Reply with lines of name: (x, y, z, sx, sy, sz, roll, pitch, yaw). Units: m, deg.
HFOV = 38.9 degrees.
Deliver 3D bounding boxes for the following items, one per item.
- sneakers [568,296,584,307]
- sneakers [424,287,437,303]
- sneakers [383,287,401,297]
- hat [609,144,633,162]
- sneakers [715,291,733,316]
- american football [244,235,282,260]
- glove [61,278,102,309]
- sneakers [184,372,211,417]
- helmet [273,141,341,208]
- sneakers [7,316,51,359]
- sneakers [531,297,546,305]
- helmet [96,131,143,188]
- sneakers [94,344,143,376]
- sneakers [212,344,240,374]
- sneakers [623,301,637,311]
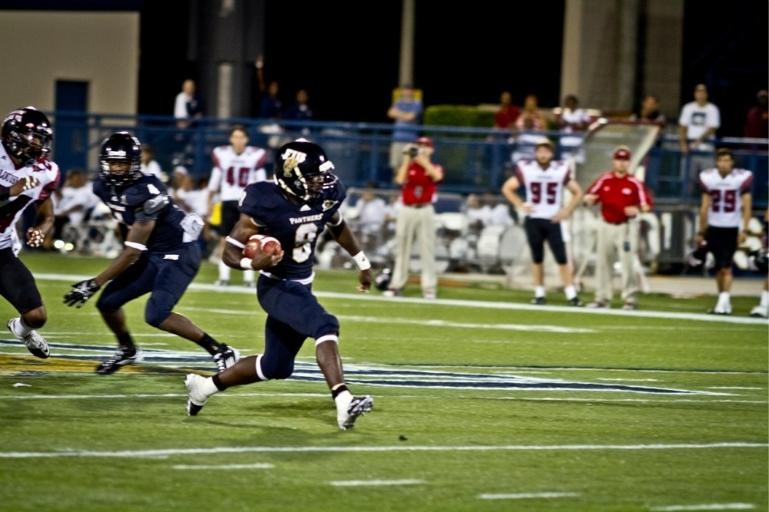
sneakers: (2.611, 0.598, 14.936, 0.183, 0.140, 0.287, 0, 2, 9)
sneakers: (0.645, 0.528, 15.409, 0.290, 0.139, 0.235, 1, 15, 12)
sneakers: (0.108, 0.507, 15.634, 0.216, 0.117, 0.169, -1, 2, 1)
hat: (3.154, -1.376, 14.497, 0.189, 0.185, 0.297, 0, 2, 18)
sneakers: (4.468, 0.604, 14.395, 0.227, 0.292, 0.204, 0, 2, 6)
american football: (-0.946, -0.069, 8.537, 0.235, 0.159, 0.222, 13, -27, -33)
glove: (-2.631, 0.363, 9.421, 0.366, 0.253, 0.124, -27, -26, 7)
sneakers: (-1.551, 1.117, 8.919, 0.148, 0.364, 0.293, 0, -3, 28)
helmet: (-0.564, -0.692, 8.790, 0.591, 0.417, 0.417, 23, 31, 20)
sneakers: (-3.379, 0.779, 10.337, 0.451, 0.159, 0.300, 38, -11, -14)
sneakers: (2.126, 0.604, 15.079, 0.157, 0.093, 0.088, 13, 12, 41)
helmet: (-2.381, -0.890, 9.799, 0.428, 0.410, 0.505, -1, 7, -10)
sneakers: (-2.431, 0.987, 10.266, 0.499, 0.192, 0.161, -27, 38, -14)
sneakers: (-1.464, 0.937, 9.955, 0.161, 0.167, 0.413, -26, -2, 4)
sneakers: (3.312, 0.661, 14.703, 0.137, 0.068, 0.210, 0, -4, -5)
